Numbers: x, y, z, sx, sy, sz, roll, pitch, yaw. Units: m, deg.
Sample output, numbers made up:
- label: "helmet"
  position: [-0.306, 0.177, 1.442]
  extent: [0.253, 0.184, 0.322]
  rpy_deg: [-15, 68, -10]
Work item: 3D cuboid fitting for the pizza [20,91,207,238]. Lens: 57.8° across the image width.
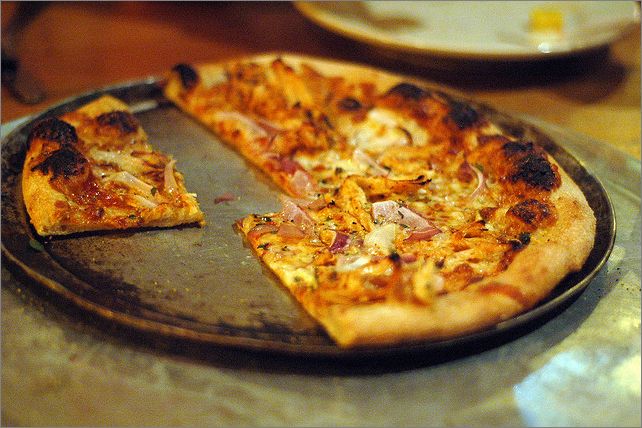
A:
- label: "pizza"
  position: [-0.820, -0.127, 2.194]
  extent: [0.511, 0.139, 0.677]
  rpy_deg: [-6, 48, -30]
